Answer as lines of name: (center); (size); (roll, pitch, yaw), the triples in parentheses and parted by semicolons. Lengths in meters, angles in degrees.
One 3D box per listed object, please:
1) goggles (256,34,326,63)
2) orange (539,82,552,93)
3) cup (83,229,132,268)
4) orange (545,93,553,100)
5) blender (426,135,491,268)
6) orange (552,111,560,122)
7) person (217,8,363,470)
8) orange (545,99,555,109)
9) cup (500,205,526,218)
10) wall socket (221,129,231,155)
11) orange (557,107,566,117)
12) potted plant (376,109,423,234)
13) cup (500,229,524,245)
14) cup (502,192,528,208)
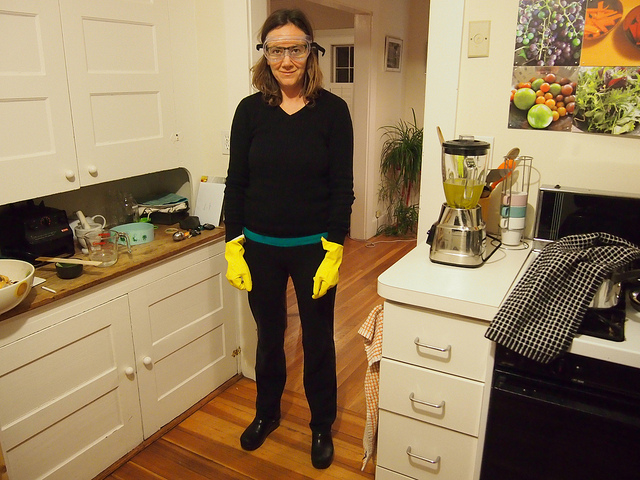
goggles: (-0.131, -0.844, 2.020); (0.290, 0.113, 0.170); (-3, 19, -5)
orange: (0.972, -0.655, 1.965); (0.039, 0.041, 0.038); (4, 30, 4)
cup: (-1.038, 0.043, 2.238); (0.209, 0.168, 0.147); (0, 14, -11)
orange: (0.989, -0.617, 1.965); (0.020, 0.026, 0.022); (1, 51, 9)
blender: (0.596, -0.178, 1.939); (0.255, 0.489, 0.330); (5, 19, 16)
orange: (1.021, -0.535, 1.970); (0.032, 0.042, 0.034); (0, 17, 19)
person: (-0.147, 0.046, 2.164); (0.603, 2.097, 0.484); (1, 18, 5)
orange: (0.994, -0.586, 1.976); (0.029, 0.038, 0.032); (-5, 40, 0)
cup: (0.864, -0.130, 2.032); (0.053, 0.033, 0.084); (-5, 9, -35)
wall socket: (-0.557, -0.571, 2.665); (0.049, 0.141, 0.044); (-2, 18, -3)
orange: (1.041, -0.551, 1.955); (0.028, 0.030, 0.036); (20, 44, -12)
potted plant: (0.997, -0.773, 5.490); (0.479, 1.284, 0.812); (6, 20, 20)
cup: (0.862, -0.015, 2.050); (0.070, 0.059, 0.073); (1, 4, 0)
cup: (0.864, -0.181, 2.024); (0.084, 0.044, 0.063); (-10, 14, -42)
